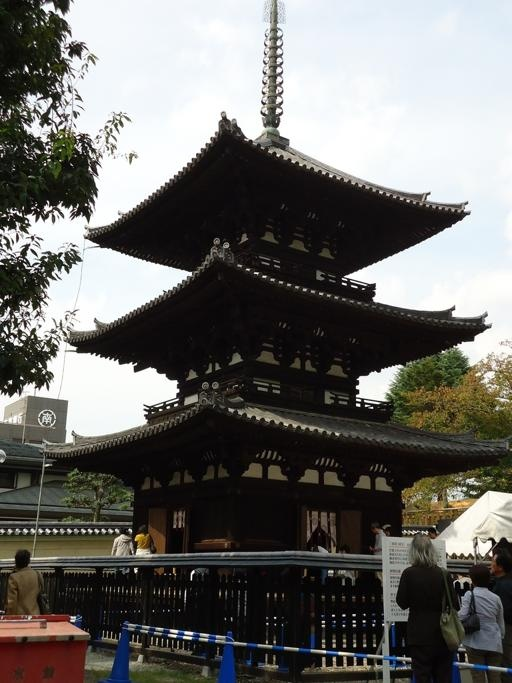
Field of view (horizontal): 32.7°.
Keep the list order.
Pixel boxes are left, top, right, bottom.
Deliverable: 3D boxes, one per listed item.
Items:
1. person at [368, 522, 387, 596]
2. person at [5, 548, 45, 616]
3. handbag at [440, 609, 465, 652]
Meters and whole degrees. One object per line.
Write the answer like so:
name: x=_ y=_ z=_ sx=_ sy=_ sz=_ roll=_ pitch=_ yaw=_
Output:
person: x=2.318 y=3.846 z=16.142 sx=0.363 sy=1.027 sz=0.375 roll=-6 pitch=-8 yaw=3
person: x=-2.569 y=2.693 z=9.838 sx=0.409 sy=0.688 sz=0.476 roll=4 pitch=-14 yaw=-12
handbag: x=1.710 y=2.483 z=7.531 sx=0.166 sy=0.357 sz=0.292 roll=-7 pitch=-16 yaw=29
